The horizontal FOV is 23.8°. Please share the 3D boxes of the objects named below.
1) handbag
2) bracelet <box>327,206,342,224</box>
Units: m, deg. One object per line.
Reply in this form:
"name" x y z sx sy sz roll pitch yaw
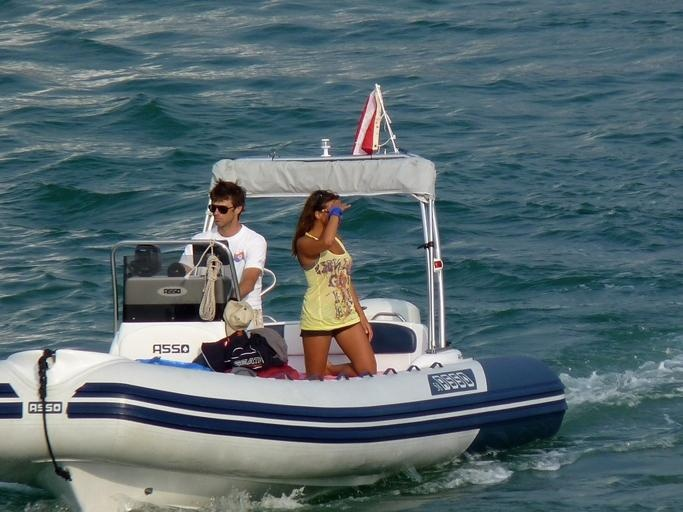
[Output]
"handbag" -1.239 1.145 19.742 0.929 0.277 0.541 -1 6 -1
"bracelet" -0.133 -0.517 19.876 0.222 0.202 0.093 0 -7 4
